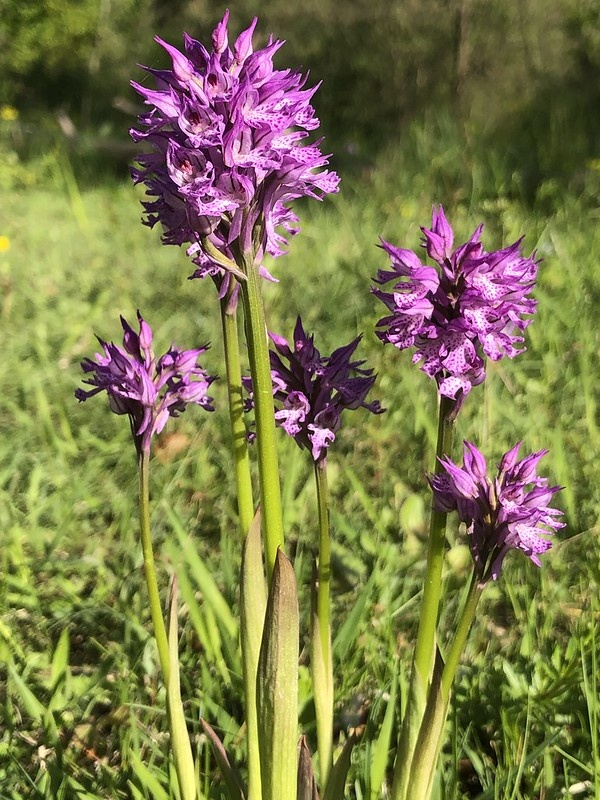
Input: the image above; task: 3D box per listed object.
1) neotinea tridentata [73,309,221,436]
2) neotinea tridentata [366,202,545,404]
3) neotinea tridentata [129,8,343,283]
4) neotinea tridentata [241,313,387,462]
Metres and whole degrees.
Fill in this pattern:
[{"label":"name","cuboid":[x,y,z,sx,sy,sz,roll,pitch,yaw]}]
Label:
[{"label":"neotinea tridentata","cuboid":[-0.243,-0.025,1.406,0.236,0.230,0.245,-3,66,10]},{"label":"neotinea tridentata","cuboid":[0.223,-0.141,1.164,0.226,0.240,0.193,13,31,14]},{"label":"neotinea tridentata","cuboid":[-0.098,-0.350,1.241,0.321,0.444,0.401,-2,31,-12]},{"label":"neotinea tridentata","cuboid":[0.046,-0.011,1.496,0.265,0.230,0.249,5,7,-38]}]
